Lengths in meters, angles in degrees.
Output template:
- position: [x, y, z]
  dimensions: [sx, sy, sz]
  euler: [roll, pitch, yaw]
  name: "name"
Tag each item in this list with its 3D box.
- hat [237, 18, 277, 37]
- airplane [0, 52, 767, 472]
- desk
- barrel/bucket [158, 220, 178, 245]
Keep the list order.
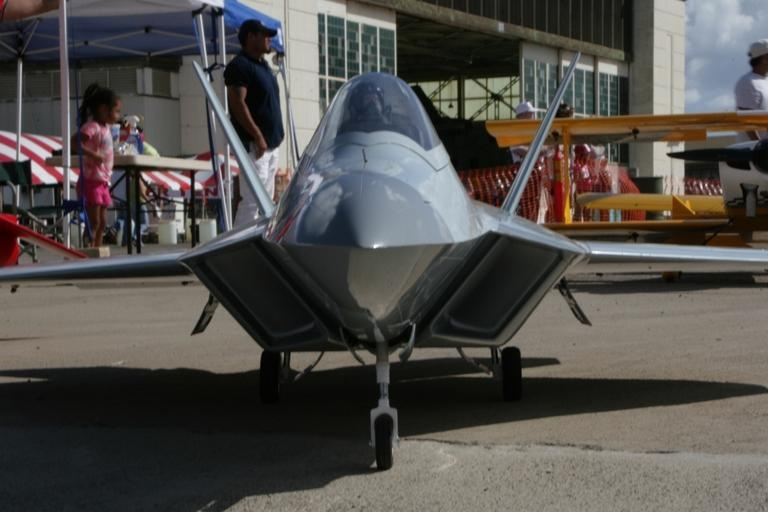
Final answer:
- position: [-1.621, -2.934, 14.744]
  dimensions: [0.434, 0.174, 0.275]
  euler: [-1, 13, -5]
  name: "hat"
- position: [0.097, 0.031, 11.459]
  dimensions: [6.157, 3.688, 2.244]
  euler: [-3, 8, -12]
  name: "airplane"
- position: [-3.710, -0.936, 19.087]
  dimensions: [1.991, 1.240, 2.088]
  euler: [5, 7, 25]
  name: "desk"
- position: [-4.987, -0.514, 26.199]
  dimensions: [0.543, 0.619, 0.555]
  euler: [-1, 1, 0]
  name: "barrel/bucket"
